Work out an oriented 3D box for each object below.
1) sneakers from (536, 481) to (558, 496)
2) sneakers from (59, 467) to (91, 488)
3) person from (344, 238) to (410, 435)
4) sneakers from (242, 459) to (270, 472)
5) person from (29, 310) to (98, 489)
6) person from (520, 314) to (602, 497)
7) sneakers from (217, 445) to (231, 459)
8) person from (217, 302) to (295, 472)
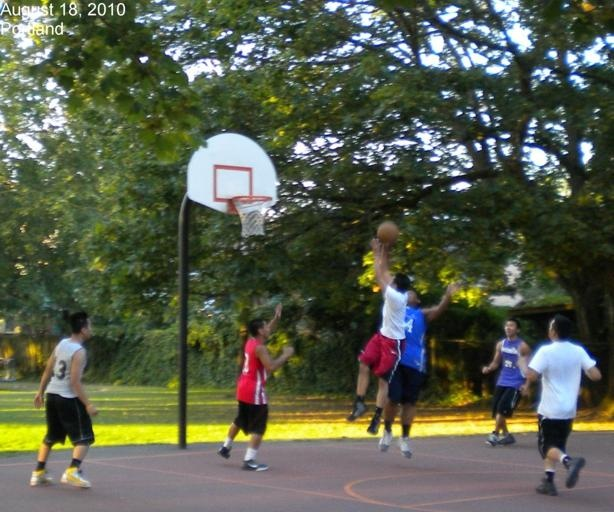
[{"bbox_3d":[2.525,2.422,8.201,0.112,0.095,0.232,0,-1,-27],"label":"sneakers"},{"bbox_3d":[-2.483,2.332,8.330,0.396,0.224,0.187,1,-4,17],"label":"sneakers"},{"bbox_3d":[0.951,0.987,10.053,0.681,2.529,0.925,4,-4,4],"label":"person"},{"bbox_3d":[-0.635,2.521,9.514,0.326,0.115,0.122,2,-5,-6],"label":"sneakers"},{"bbox_3d":[-2.634,1.535,8.567,0.651,1.871,0.925,5,-4,-17],"label":"person"},{"bbox_3d":[2.645,1.545,8.171,0.702,1.867,0.543,3,-4,17],"label":"person"},{"bbox_3d":[-1.072,2.508,10.135,0.121,0.114,0.299,3,-2,15],"label":"sneakers"},{"bbox_3d":[-0.604,1.673,9.580,0.456,1.818,1.106,6,-5,-25],"label":"person"}]
